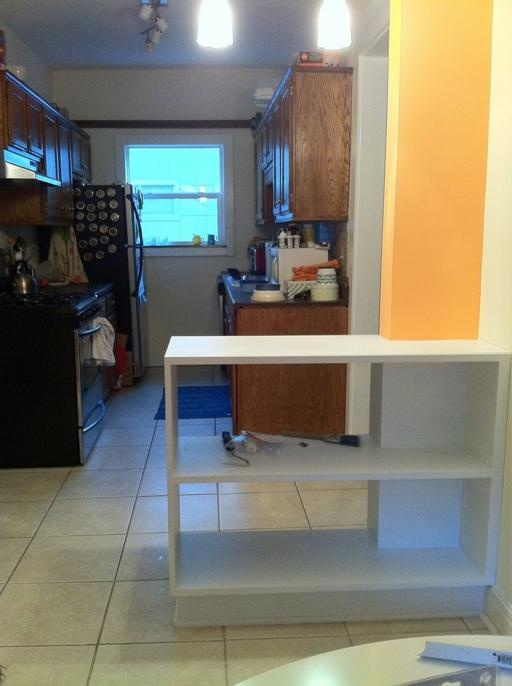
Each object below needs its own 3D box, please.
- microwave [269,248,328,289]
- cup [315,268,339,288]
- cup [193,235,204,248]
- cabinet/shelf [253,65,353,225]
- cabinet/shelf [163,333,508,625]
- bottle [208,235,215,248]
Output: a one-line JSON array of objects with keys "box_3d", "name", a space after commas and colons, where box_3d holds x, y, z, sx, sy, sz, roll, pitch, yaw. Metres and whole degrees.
[{"box_3d": [0.265, -0.492, 3.695, 0.385, 0.256, 0.346, 1, 8, 10], "name": "microwave"}, {"box_3d": [0.419, -0.392, 3.444, 0.099, 0.105, 0.104, -1, 3, 0], "name": "cup"}, {"box_3d": [-0.582, -1.004, 5.657, 0.107, 0.109, 0.075, -1, 6, -14], "name": "cup"}, {"box_3d": [0.293, -1.203, 3.491, 0.371, 0.808, 1.510, 1, 13, 0], "name": "cabinet/shelf"}, {"box_3d": [0.291, 0.498, 2.011, 0.825, 0.760, 0.338, -1, 5, -2], "name": "cabinet/shelf"}, {"box_3d": [-0.453, -1.018, 5.664, 0.088, 0.120, 0.063, -1, 8, -5], "name": "bottle"}]
